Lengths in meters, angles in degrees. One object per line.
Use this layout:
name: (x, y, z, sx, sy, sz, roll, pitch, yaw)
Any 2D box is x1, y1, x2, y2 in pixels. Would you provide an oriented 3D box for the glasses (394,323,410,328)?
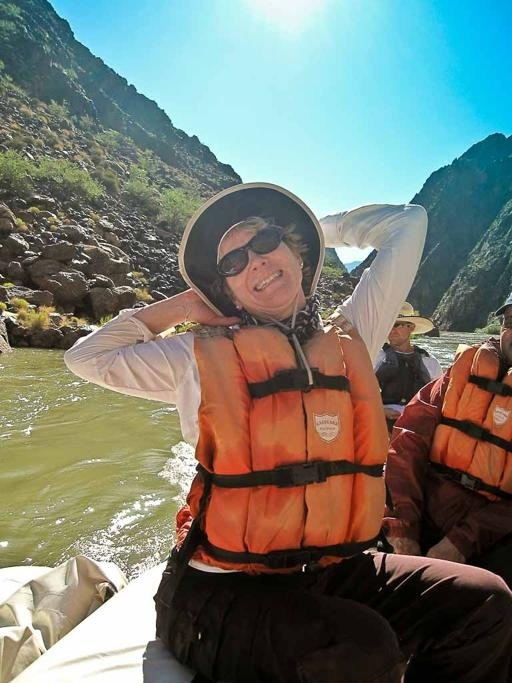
glasses: (1.593, -0.183, 5.402, 0.150, 0.048, 0.153, -2, -7, 18)
